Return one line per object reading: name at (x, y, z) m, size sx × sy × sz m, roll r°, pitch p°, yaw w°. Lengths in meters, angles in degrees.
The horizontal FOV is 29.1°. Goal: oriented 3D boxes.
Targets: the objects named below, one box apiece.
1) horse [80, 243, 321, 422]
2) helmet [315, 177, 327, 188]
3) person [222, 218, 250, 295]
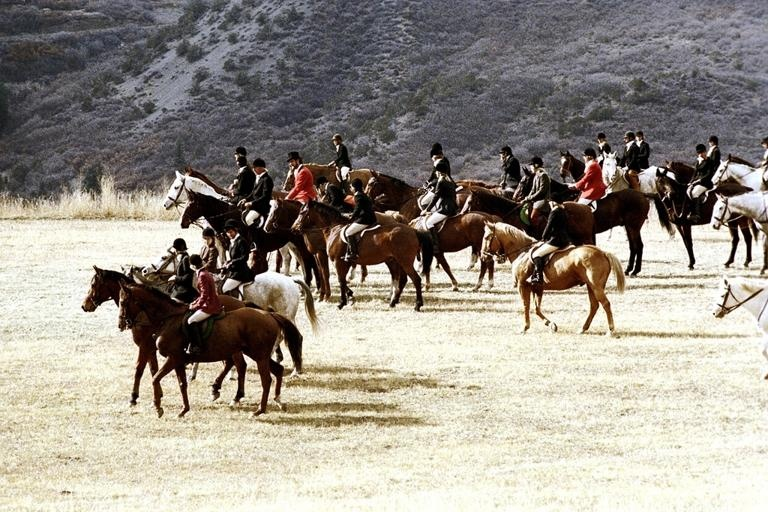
horse at (-8.305, 3.375, 63.256) m, size 8.866 × 6.804 × 2.117 m, roll 0°, pitch 2°, yaw -7°
helmet at (-2.986, -3.670, 72.362) m, size 0.550 × 0.480 × 0.456 m, roll 9°, pitch -10°, yaw -42°
person at (-6.452, -0.025, 64.529) m, size 1.152 × 3.275 × 1.191 m, roll 3°, pitch -3°, yaw 5°
